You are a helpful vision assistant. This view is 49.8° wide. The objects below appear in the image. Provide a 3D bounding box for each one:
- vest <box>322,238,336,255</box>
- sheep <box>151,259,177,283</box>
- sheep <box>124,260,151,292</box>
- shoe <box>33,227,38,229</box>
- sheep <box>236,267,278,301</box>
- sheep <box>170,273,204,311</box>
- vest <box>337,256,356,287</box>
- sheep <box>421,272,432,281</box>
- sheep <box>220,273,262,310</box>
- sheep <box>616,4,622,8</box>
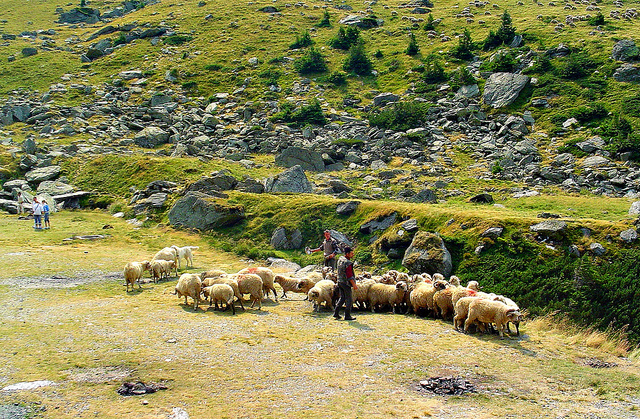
[{"bbox_3d":[0.879,3.423,63.296,0.969,1.350,0.613,1,11,-5],"label":"vest"},{"bbox_3d":[-14.655,5.580,64.045,0.947,1.854,2.290,10,13,36],"label":"sheep"},{"bbox_3d":[-16.894,5.859,62.548,1.850,2.383,3.091,5,10,18],"label":"sheep"},{"bbox_3d":[-30.445,1.945,73.202,0.631,0.206,0.195,5,1,40],"label":"shoe"},{"bbox_3d":[-6.533,6.666,61.961,2.855,3.106,5.133,0,-7,3],"label":"sheep"},{"bbox_3d":[-11.147,6.992,59.571,2.318,2.833,1.174,11,14,40],"label":"sheep"},{"bbox_3d":[2.172,5.167,58.103,1.382,2.478,0.611,4,11,11],"label":"vest"},{"bbox_3d":[9.528,5.904,61.192,0.577,0.259,0.710,13,9,-10],"label":"sheep"},{"bbox_3d":[-6.948,7.036,60.881,5.798,2.650,1.471,2,1,38],"label":"sheep"},{"bbox_3d":[56.540,-38.095,128.737,0.863,0.432,1.088,13,23,-9],"label":"sheep"}]
